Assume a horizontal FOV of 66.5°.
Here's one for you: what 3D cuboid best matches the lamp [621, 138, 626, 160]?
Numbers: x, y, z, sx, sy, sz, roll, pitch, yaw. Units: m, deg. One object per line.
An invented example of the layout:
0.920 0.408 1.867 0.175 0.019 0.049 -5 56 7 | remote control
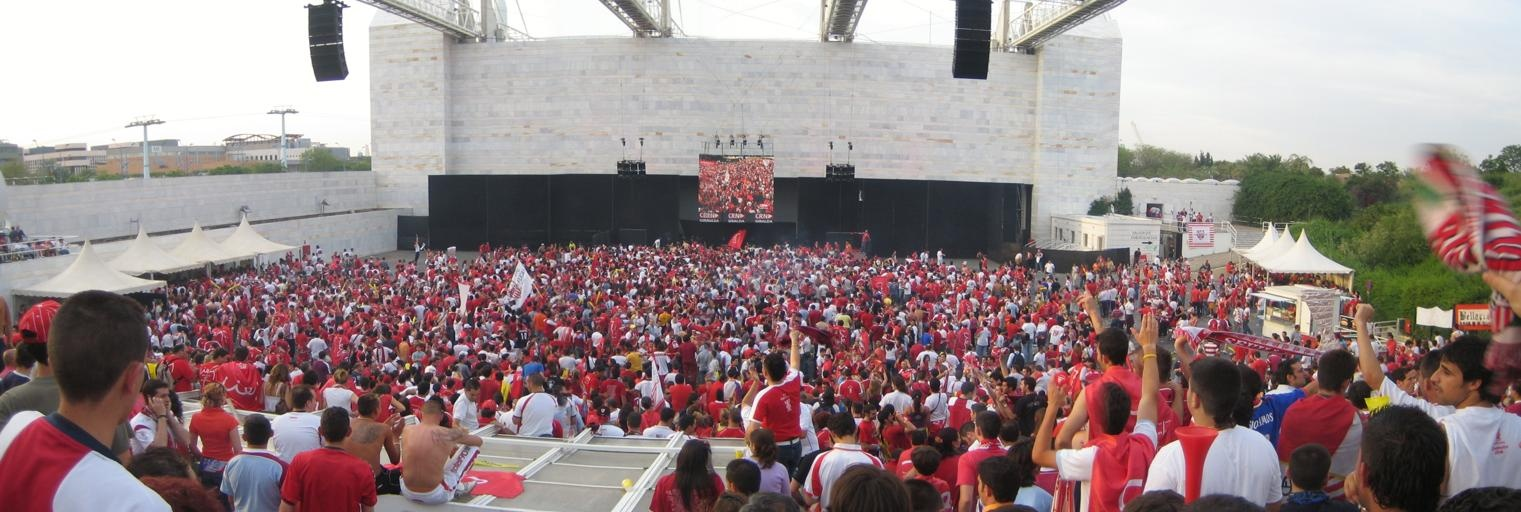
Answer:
-14.315 -11.327 121.736 0.617 2.026 0.280 0 4 -8 | lamp
